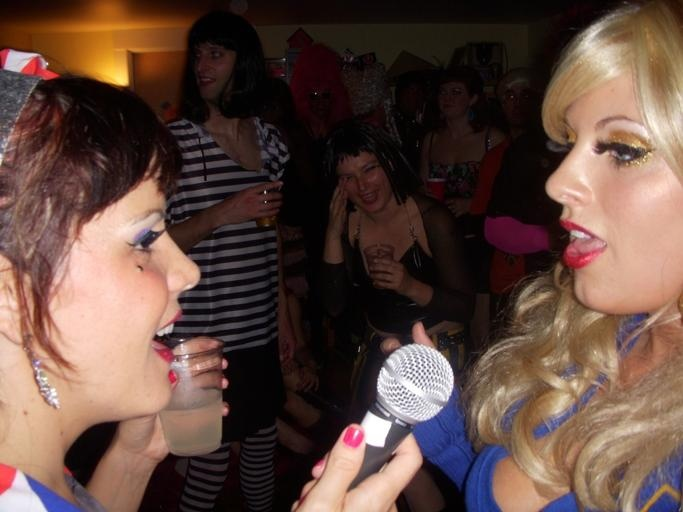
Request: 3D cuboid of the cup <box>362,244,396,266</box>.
[{"bbox_3d":[0.190,0.003,2.751,0.113,0.080,0.113,1,-5,0],"label":"cup"}]
